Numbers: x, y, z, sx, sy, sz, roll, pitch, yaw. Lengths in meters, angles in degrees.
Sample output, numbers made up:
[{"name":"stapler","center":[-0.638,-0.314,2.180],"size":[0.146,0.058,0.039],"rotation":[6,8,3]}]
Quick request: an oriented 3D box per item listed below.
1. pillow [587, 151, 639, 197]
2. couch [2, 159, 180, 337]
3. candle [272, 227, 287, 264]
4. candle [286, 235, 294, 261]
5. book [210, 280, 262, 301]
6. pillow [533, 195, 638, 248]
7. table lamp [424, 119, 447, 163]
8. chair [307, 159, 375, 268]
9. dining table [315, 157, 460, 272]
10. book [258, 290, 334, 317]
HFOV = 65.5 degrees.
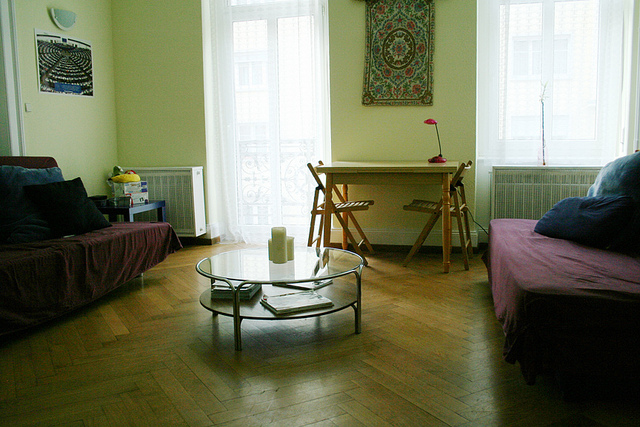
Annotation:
[{"name":"pillow","center":[2.132,-0.270,3.740],"size":[0.091,0.293,0.329],"rotation":[12,-5,-1]},{"name":"couch","center":[-2.224,0.173,4.108],"size":[1.011,1.200,1.603],"rotation":[1,13,20]},{"name":"candle","center":[-0.310,0.242,3.684],"size":[0.118,0.244,0.108],"rotation":[1,11,11]},{"name":"candle","center":[-0.224,0.264,3.709],"size":[0.044,0.165,0.082],"rotation":[-2,13,6]},{"name":"book","center":[-0.639,0.579,3.671],"size":[0.213,0.059,0.209],"rotation":[1,6,8]},{"name":"pillow","center":[1.949,0.034,3.686],"size":[0.326,0.348,0.640],"rotation":[-11,14,-33]},{"name":"table lamp","center":[1.192,-0.742,5.095],"size":[0.198,0.441,0.534],"rotation":[0,12,15]},{"name":"chair","center":[0.218,0.008,5.204],"size":[0.715,0.911,0.588],"rotation":[1,8,19]},{"name":"dining table","center":[0.737,-0.093,5.224],"size":[1.767,1.246,1.154],"rotation":[1,6,15]},{"name":"book","center":[-0.178,0.623,3.547],"size":[0.477,0.053,0.334],"rotation":[-7,12,-21]}]
